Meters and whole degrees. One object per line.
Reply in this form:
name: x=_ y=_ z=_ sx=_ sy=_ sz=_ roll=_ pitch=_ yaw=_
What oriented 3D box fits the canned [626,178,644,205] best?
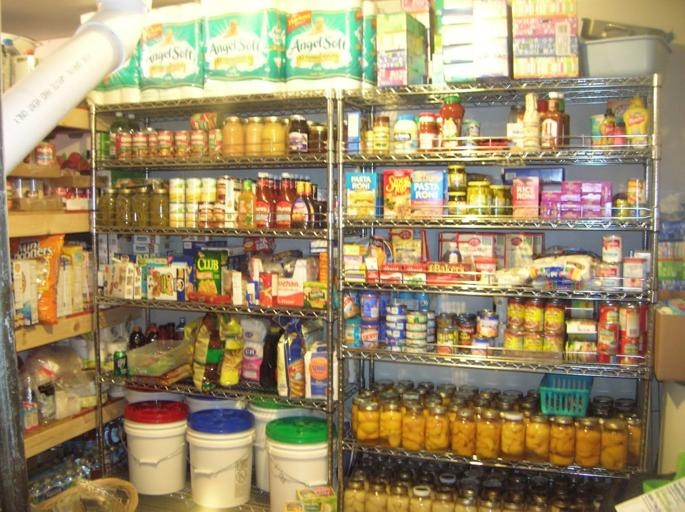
canned: x=1.404 y=-0.309 z=3.140 sx=0.074 sy=0.126 sz=0.268 roll=3 pitch=13 yaw=25

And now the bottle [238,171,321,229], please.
bottle: x=-0.356 y=-0.280 z=3.612 sx=0.349 sy=0.220 sz=0.346 roll=0 pitch=3 yaw=0

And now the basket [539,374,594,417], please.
basket: x=1.108 y=0.704 z=3.256 sx=0.253 sy=0.194 sz=0.257 roll=0 pitch=12 yaw=13

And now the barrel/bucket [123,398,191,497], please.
barrel/bucket: x=-1.038 y=1.096 z=3.882 sx=0.424 sy=0.481 sz=0.457 roll=0 pitch=5 yaw=0

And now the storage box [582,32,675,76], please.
storage box: x=1.280 y=-0.899 z=2.957 sx=0.273 sy=0.115 sz=0.210 roll=1 pitch=7 yaw=7

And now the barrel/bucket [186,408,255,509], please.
barrel/bucket: x=-0.676 y=1.135 z=3.775 sx=0.460 sy=0.483 sz=0.429 roll=1 pitch=-1 yaw=0
